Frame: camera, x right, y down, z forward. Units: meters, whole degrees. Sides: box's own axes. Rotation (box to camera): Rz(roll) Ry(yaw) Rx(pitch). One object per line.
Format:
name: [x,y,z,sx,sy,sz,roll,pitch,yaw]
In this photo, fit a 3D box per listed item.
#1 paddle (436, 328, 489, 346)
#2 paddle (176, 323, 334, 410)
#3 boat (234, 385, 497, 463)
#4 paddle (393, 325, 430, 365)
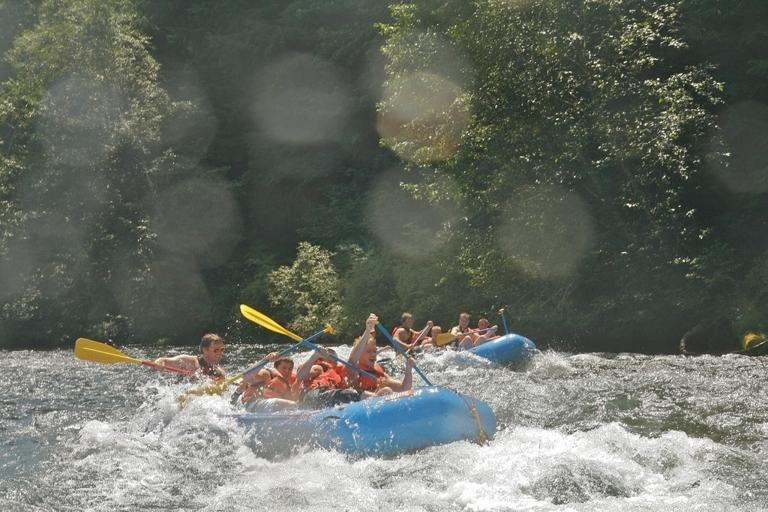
paddle: [2.845,2.927,45.817,0.442,0.424,3.630,-3,-1,41]
paddle: [-2.312,3.098,42.922,6.220,0.331,0.715,29,31,-30]
boat: [-0.266,5.410,40.119,7.244,1.524,1.197,-8,30,-1]
paddle: [1.028,3.083,46.048,0.679,0.550,1.584,21,45,26]
